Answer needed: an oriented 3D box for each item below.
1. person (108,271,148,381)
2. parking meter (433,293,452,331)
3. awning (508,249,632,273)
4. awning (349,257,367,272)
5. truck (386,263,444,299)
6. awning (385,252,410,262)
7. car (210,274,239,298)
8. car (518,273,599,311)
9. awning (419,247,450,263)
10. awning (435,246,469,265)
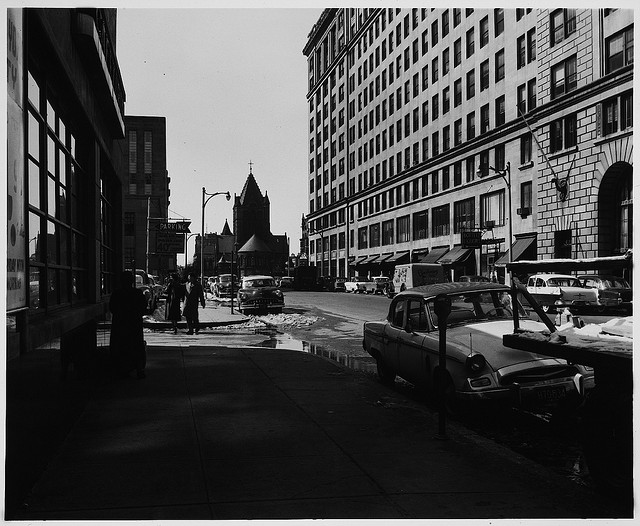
[{"bbox_3d":[-3.237,1.050,11.326,0.605,1.793,0.295,2,0,-20],"label":"person"},{"bbox_3d":[1.487,0.695,8.192,0.215,0.672,0.052,-2,-35,13],"label":"parking meter"},{"bbox_3d":[2.821,-0.004,7.508,0.539,0.258,1.642,2,0,-30],"label":"awning"},{"bbox_3d":[4.439,0.184,75.434,1.192,1.614,5.152,2,0,-9],"label":"awning"},{"bbox_3d":[5.686,0.858,41.553,2.607,2.674,4.965,1,-1,-17],"label":"truck"},{"bbox_3d":[7.158,-0.544,63.627,1.096,0.892,3.332,2,0,-13],"label":"awning"},{"bbox_3d":[-6.915,1.676,50.040,1.572,1.591,4.099,1,2,-12],"label":"car"},{"bbox_3d":[8.258,1.013,22.847,1.146,0.951,3.018,-1,-3,-8],"label":"car"},{"bbox_3d":[9.201,-0.598,54.232,1.010,0.634,1.593,-10,-5,-29],"label":"awning"},{"bbox_3d":[9.794,-0.542,50.381,1.365,1.372,3.732,2,0,-3],"label":"awning"}]
